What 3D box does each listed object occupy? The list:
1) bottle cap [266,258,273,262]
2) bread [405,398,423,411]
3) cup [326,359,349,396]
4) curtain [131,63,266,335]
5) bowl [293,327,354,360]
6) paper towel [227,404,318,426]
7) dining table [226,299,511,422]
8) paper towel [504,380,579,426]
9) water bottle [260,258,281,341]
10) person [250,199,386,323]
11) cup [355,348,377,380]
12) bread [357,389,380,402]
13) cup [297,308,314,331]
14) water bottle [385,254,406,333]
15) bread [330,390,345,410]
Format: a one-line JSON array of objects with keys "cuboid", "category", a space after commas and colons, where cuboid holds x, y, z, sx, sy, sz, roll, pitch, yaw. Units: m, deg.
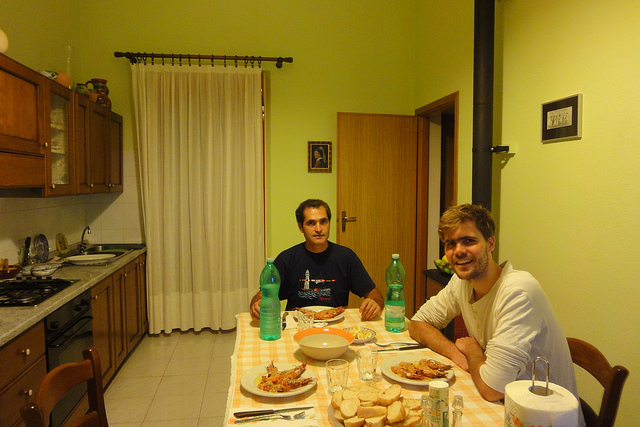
[{"cuboid": [-0.316, 0.295, 2.742, 0.035, 0.027, 0.036, 2, -2, -7], "category": "bottle cap"}, {"cuboid": [0.435, 0.894, 2.057, 0.082, 0.023, 0.079, 1, 2, 8], "category": "bread"}, {"cuboid": [0.081, 0.841, 2.261, 0.124, 0.145, 0.131, -2, -24, -1], "category": "cup"}, {"cuboid": [-1.260, -0.190, 5.017, 1.451, 3.158, 0.225, 0, 7, -12], "category": "curtain"}, {"cuboid": [0.024, 0.727, 2.475, 0.197, 0.073, 0.200, -1, 2, 0], "category": "bowl"}, {"cuboid": [-0.225, 0.964, 2.082, 0.427, 0.052, 0.108, -4, 11, 5], "category": "paper towel"}, {"cuboid": [0.129, 0.741, 2.520, 1.284, 0.400, 1.192, -6, 10, -8], "category": "dining table"}, {"cuboid": [0.927, 0.815, 1.850, 0.269, 0.162, 0.147, 0, 12, 22], "category": "paper towel"}, {"cuboid": [-0.319, 0.531, 2.756, 0.151, 0.488, 0.148, -1, -4, 0], "category": "water bottle"}, {"cuboid": [-0.019, 0.446, 3.294, 1.021, 1.049, 0.701, 0, -4, -5], "category": "person"}, {"cuboid": [0.245, 0.807, 2.372, 0.124, 0.141, 0.126, 0, 3, 0], "category": "cup"}, {"cuboid": [0.226, 0.870, 2.096, 0.098, 0.018, 0.074, -5, 10, -4], "category": "bread"}, {"cuboid": [-0.095, 0.687, 2.866, 0.095, 0.092, 0.076, 0, 3, -7], "category": "cup"}, {"cuboid": [0.485, 0.514, 2.897, 0.147, 0.510, 0.155, 0, -2, 0], "category": "water bottle"}, {"cuboid": [0.090, 0.894, 2.111, 0.061, 0.017, 0.065, -36, 14, -18], "category": "bread"}]
